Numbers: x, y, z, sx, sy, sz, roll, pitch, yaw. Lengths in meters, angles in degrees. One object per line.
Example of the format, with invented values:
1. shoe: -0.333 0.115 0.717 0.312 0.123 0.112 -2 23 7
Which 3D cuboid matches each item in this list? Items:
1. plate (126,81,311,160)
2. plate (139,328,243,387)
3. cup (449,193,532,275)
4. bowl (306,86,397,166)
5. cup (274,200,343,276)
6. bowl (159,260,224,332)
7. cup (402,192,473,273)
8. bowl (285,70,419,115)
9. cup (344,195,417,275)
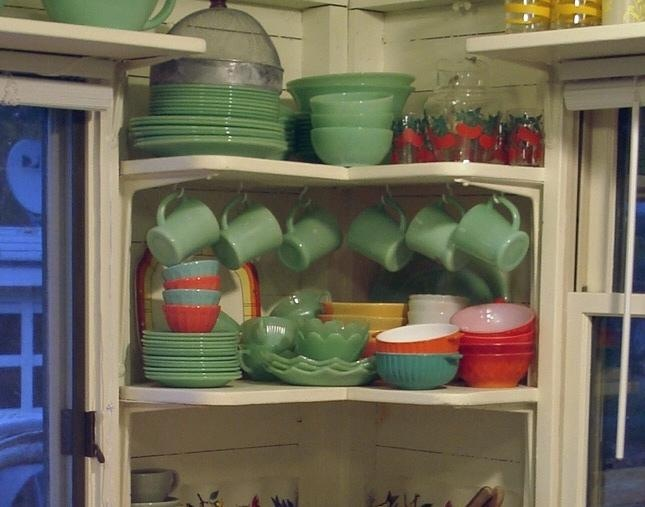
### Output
1. plate: -0.220 -0.257 1.740 0.219 0.086 0.227 1 -3 1
2. plate: -0.265 0.198 1.694 0.135 0.065 0.132 -2 -4 12
3. cup: 0.333 -0.059 1.769 0.123 0.148 0.189 -5 -7 -33
4. bowl: 0.058 -0.255 1.793 0.165 0.127 0.147 3 -5 -40
5. cup: -0.045 -0.030 1.967 0.124 0.175 0.114 -17 14 4
6. bowl: -0.261 0.087 1.769 0.130 0.154 0.134 -1 -14 0
7. cup: 0.258 -0.024 1.868 0.126 0.177 0.113 28 10 24
8. bowl: 0.074 -0.356 1.871 0.154 0.054 0.152 -1 -1 0
9. cup: 0.146 -0.029 1.951 0.118 0.191 0.124 13 16 -4
